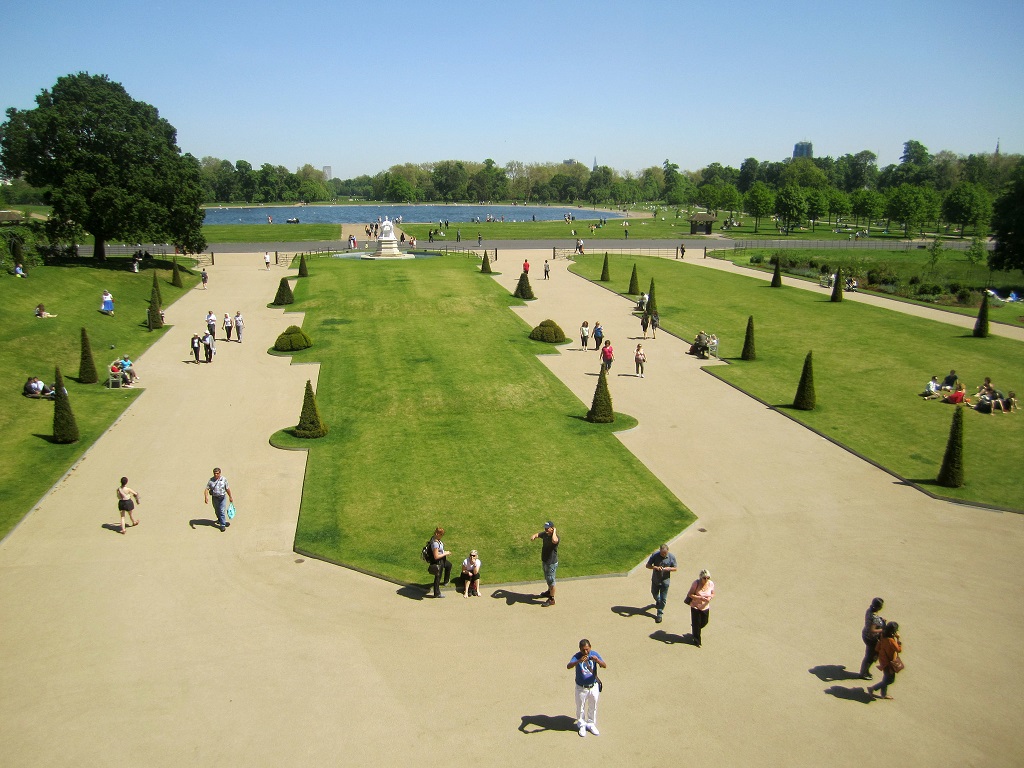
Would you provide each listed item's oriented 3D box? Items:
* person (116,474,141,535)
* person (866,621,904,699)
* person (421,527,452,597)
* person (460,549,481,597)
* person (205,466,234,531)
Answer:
[{"bbox_3d":[-12.943,3.858,31.971,0.622,1.883,1.281,-5,15,-23],"label":"person"},{"bbox_3d":[10.004,7.173,25.232,0.709,2.075,1.136,8,16,27],"label":"person"},{"bbox_3d":[-2.327,5.562,29.267,1.030,2.193,0.894,-8,34,-9],"label":"person"},{"bbox_3d":[-1.266,5.608,28.624,0.556,1.640,0.754,0,14,-2],"label":"person"},{"bbox_3d":[-9.871,3.780,32.106,0.726,2.046,1.219,-4,15,-18],"label":"person"}]
